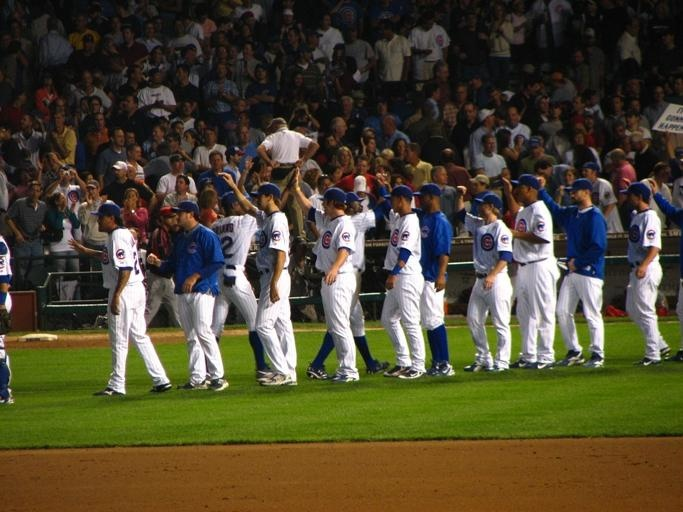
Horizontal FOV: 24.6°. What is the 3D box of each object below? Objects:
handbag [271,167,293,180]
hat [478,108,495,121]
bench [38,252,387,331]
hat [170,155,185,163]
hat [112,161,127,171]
[{"bbox_3d":[-1.196,-1.646,30.668,0.295,0.249,0.252,0,3,-5],"label":"handbag"},{"bbox_3d":[3.116,-3.103,33.897,0.317,0.128,0.239,-31,21,15],"label":"hat"},{"bbox_3d":[-2.616,0.653,31.524,6.918,1.381,1.190,-2,-4,-7],"label":"bench"},{"bbox_3d":[-3.363,-1.993,31.727,0.263,0.201,0.445,-1,-4,-9],"label":"hat"},{"bbox_3d":[-4.436,-1.856,31.567,0.166,0.121,0.233,-2,-10,32],"label":"hat"}]
